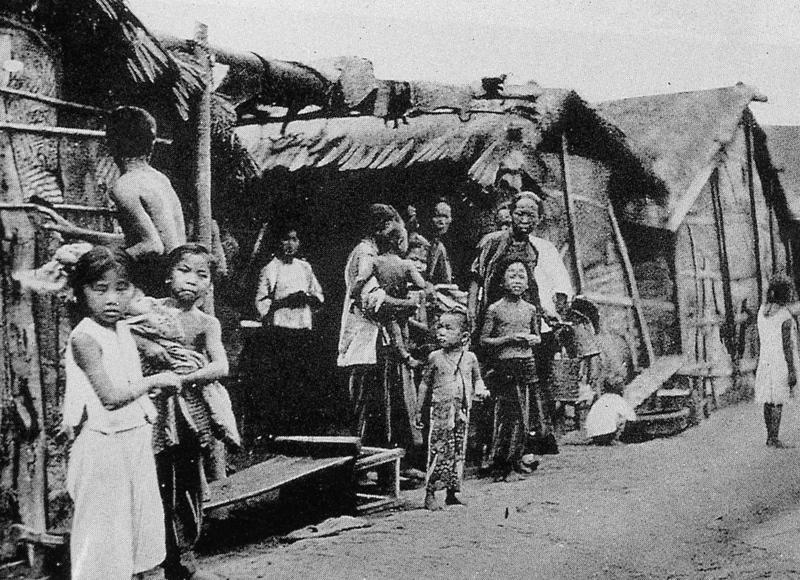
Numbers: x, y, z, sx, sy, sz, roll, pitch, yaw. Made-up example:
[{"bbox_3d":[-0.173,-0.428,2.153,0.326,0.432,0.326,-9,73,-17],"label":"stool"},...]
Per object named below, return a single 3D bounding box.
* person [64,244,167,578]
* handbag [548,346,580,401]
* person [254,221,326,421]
[{"bbox_3d":[-1.980,0.866,7.461,0.689,2.259,0.367,-4,-7,-17],"label":"person"},{"bbox_3d":[1.307,0.715,8.435,0.282,0.324,0.267,5,-12,-30],"label":"handbag"},{"bbox_3d":[-0.786,0.286,7.944,0.517,1.481,0.155,-2,-9,-34],"label":"person"}]
